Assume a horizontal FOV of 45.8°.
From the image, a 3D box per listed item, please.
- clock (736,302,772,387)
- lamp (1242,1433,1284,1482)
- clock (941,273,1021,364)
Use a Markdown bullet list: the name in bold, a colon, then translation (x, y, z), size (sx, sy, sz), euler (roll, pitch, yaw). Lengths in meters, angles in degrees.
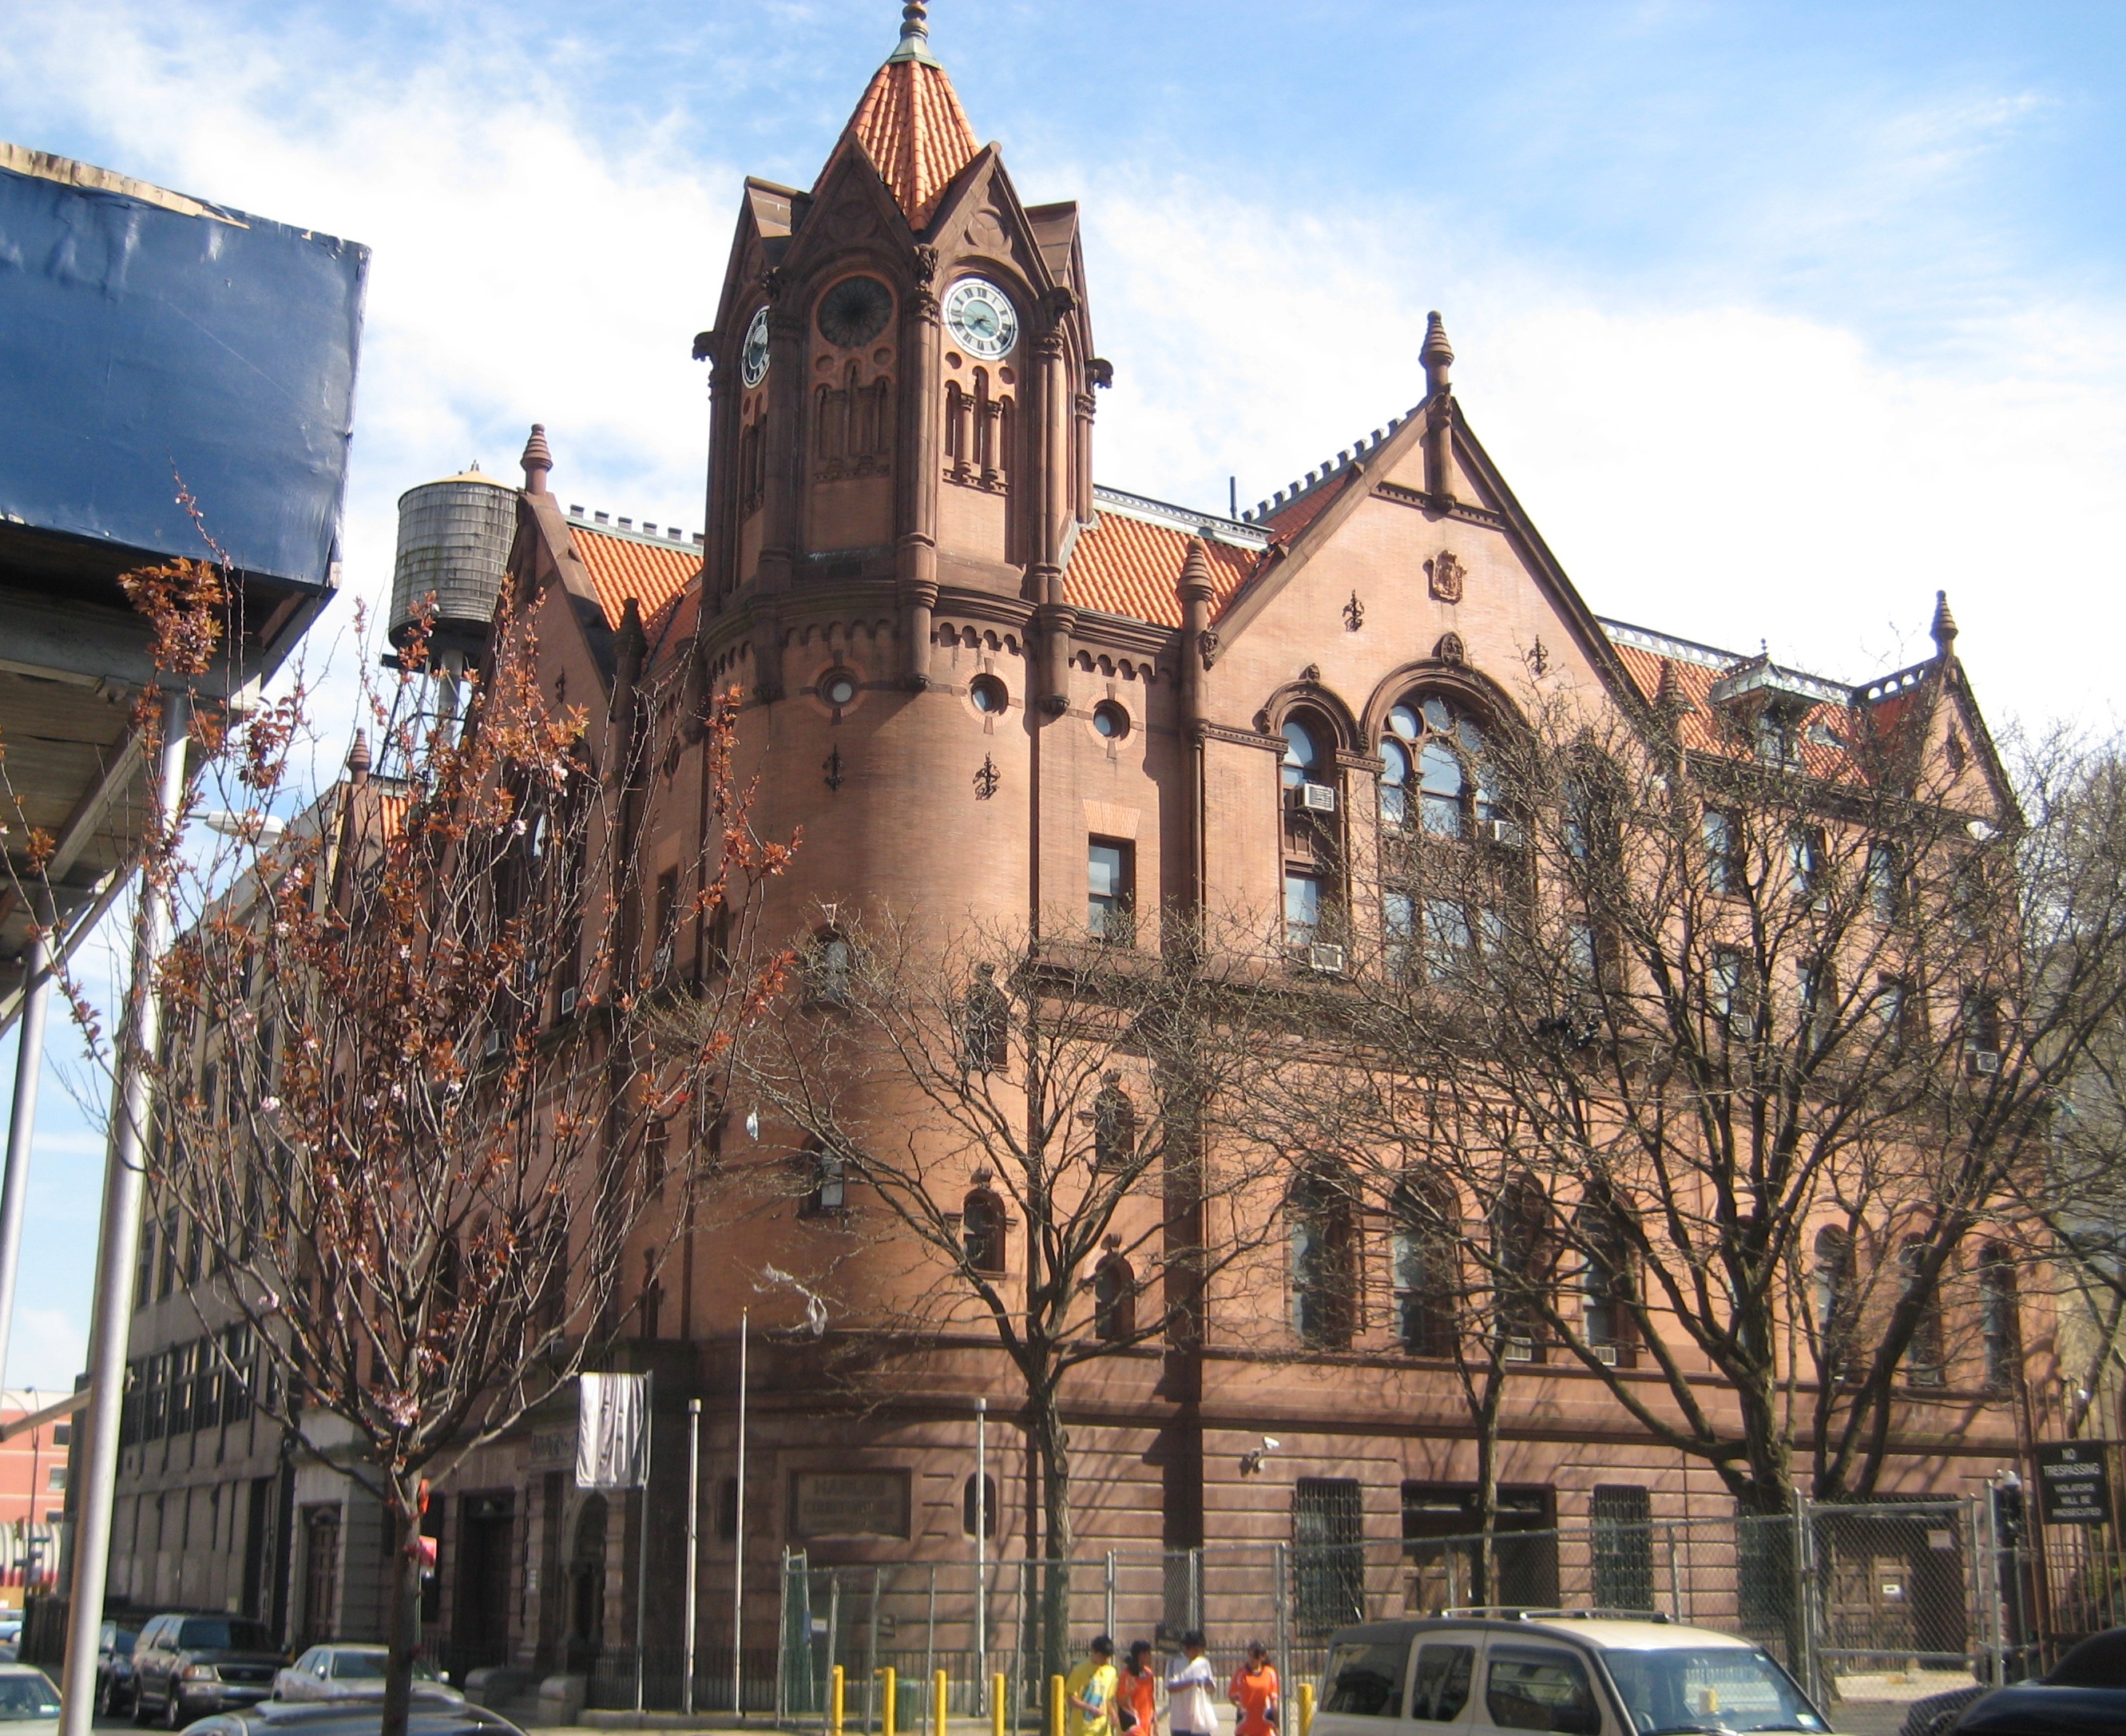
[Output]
- **clock**: translation (-5.973, -10.108, 48.773), size (0.102, 2.097, 1.923), euler (2, -1, -26)
- **lamp**: translation (3.583, 10.518, 44.821), size (0.927, 0.734, 0.216), euler (13, -24, -30)
- **clock**: translation (-1.611, -10.349, 47.657), size (1.378, 1.509, 0.083), euler (21, -23, -18)
